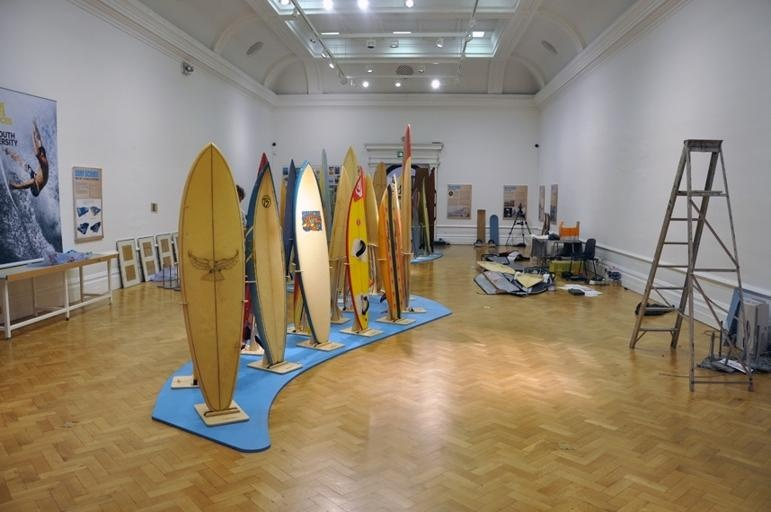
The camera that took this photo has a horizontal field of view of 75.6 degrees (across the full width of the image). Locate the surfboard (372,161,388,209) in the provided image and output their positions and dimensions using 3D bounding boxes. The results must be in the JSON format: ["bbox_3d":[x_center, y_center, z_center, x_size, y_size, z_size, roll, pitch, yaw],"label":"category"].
[{"bbox_3d":[-0.097,-1.539,11.211,0.523,0.243,2.620,-7,-5,-1],"label":"surfboard"}]

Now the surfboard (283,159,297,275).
[{"bbox_3d":[-1.169,-0.457,6.120,0.195,1.418,0.163,-1,0,-38],"label":"surfboard"}]

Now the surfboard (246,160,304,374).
[{"bbox_3d":[-1.266,0.153,5.432,0.496,2.264,0.425,-1,11,-15],"label":"surfboard"}]

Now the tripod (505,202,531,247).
[{"bbox_3d":[4.107,-0.970,15.234,0.753,1.233,0.540,3,11,10],"label":"tripod"}]

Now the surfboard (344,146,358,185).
[{"bbox_3d":[-0.608,-1.476,8.459,0.254,0.904,0.063,1,49,-3],"label":"surfboard"}]

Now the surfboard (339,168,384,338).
[{"bbox_3d":[-0.331,-0.040,6.649,0.415,2.080,0.750,1,10,-5],"label":"surfboard"}]

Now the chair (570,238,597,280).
[{"bbox_3d":[4.086,0.043,10.138,0.461,0.788,0.881,6,11,23],"label":"chair"}]
